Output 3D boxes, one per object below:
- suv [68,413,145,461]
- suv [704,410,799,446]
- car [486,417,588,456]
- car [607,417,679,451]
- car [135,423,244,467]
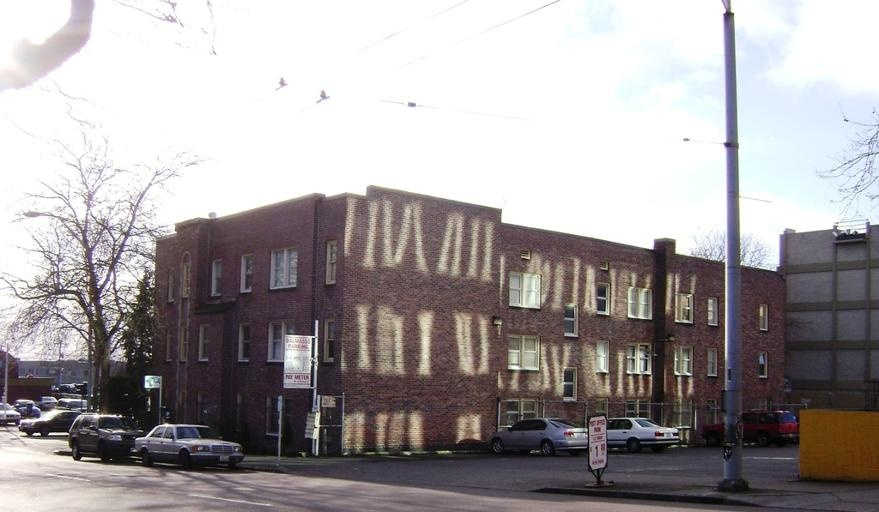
[{"bbox_3d":[-19.506,10.654,54.920,3.121,2.576,6.264,10,-13,-44],"label":"suv"},{"bbox_3d":[21.950,12.093,65.209,7.914,3.011,4.060,-1,-5,29],"label":"suv"},{"bbox_3d":[6.082,11.036,57.241,6.754,2.017,2.986,-9,-13,43],"label":"car"},{"bbox_3d":[12.618,11.364,59.217,2.421,1.874,6.265,7,-10,-44],"label":"car"},{"bbox_3d":[-13.439,10.232,50.437,5.641,2.247,1.901,-9,-18,30],"label":"car"}]
